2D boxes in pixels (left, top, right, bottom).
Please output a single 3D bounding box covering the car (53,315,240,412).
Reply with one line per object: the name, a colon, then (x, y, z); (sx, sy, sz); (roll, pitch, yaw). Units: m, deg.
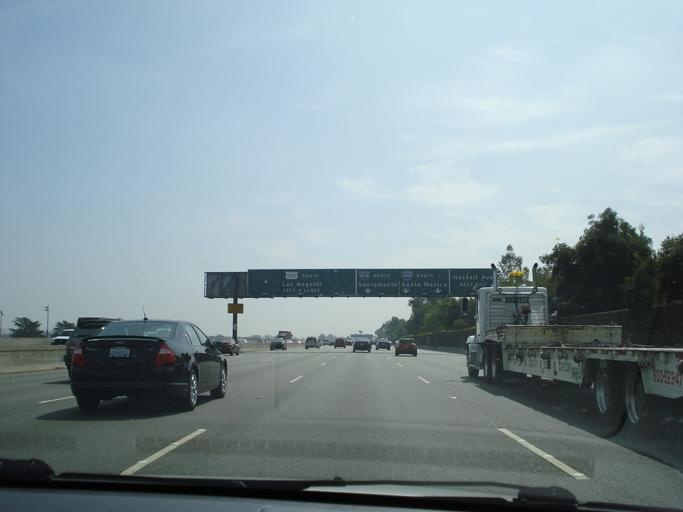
car: (-3.927, 2.353, 15.864); (1.789, 1.961, 3.390); (-2, -6, 36)
